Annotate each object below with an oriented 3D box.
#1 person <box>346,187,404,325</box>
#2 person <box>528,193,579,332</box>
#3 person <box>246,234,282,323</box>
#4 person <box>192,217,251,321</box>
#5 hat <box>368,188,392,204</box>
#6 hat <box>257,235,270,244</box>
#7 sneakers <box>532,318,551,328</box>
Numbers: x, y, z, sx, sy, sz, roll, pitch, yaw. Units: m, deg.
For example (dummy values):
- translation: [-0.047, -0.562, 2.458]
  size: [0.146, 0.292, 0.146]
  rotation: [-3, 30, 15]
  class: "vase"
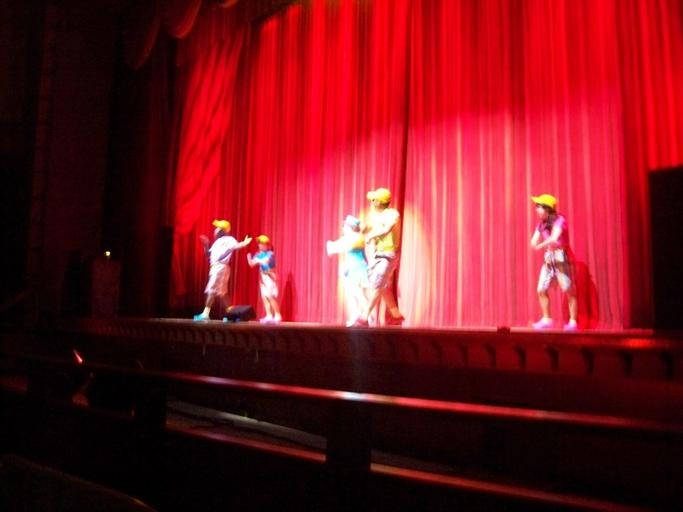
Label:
- translation: [0.452, -0.033, 6.358]
  size: [0.536, 1.786, 1.582]
  rotation: [1, -10, 6]
  class: "person"
- translation: [2.158, -0.002, 5.614]
  size: [0.429, 1.528, 0.747]
  rotation: [-2, -11, 24]
  class: "person"
- translation: [-1.075, 0.316, 7.739]
  size: [0.506, 1.258, 0.804]
  rotation: [4, -10, -6]
  class: "person"
- translation: [-1.708, 0.131, 7.856]
  size: [0.641, 1.689, 1.589]
  rotation: [5, -10, -14]
  class: "person"
- translation: [0.399, -0.653, 5.935]
  size: [0.242, 0.137, 0.169]
  rotation: [14, 10, -1]
  class: "hat"
- translation: [-1.084, -0.233, 7.540]
  size: [0.115, 0.131, 0.157]
  rotation: [3, 8, 4]
  class: "hat"
- translation: [2.056, 0.689, 5.655]
  size: [0.090, 0.077, 0.165]
  rotation: [0, -6, -11]
  class: "sneakers"
